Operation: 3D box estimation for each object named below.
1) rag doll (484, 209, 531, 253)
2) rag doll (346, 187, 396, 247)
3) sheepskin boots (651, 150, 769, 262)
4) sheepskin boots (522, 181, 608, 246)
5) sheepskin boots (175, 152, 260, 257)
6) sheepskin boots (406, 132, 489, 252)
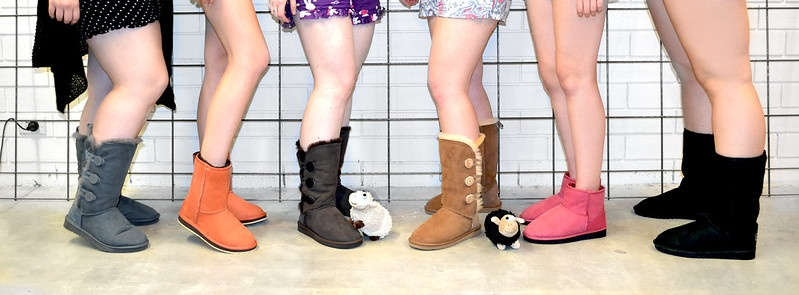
[{"bbox_3d":[0.851,0.698,5.577,0.351,0.288,0.403,1,-5,-28],"label":"rag doll"},{"bbox_3d":[-0.293,0.588,5.613,0.377,0.360,0.479,-2,-5,39],"label":"rag doll"},{"bbox_3d":[2.674,0.565,5.570,0.462,0.739,0.919,6,-8,-42],"label":"sheepskin boots"},{"bbox_3d":[1.367,0.579,5.594,0.953,0.401,0.355,-2,14,-29],"label":"sheepskin boots"},{"bbox_3d":[-1.477,0.463,5.533,1.047,0.631,0.470,20,27,39],"label":"sheepskin boots"},{"bbox_3d":[0.398,0.363,5.496,0.499,0.886,0.702,6,27,23],"label":"sheepskin boots"}]
